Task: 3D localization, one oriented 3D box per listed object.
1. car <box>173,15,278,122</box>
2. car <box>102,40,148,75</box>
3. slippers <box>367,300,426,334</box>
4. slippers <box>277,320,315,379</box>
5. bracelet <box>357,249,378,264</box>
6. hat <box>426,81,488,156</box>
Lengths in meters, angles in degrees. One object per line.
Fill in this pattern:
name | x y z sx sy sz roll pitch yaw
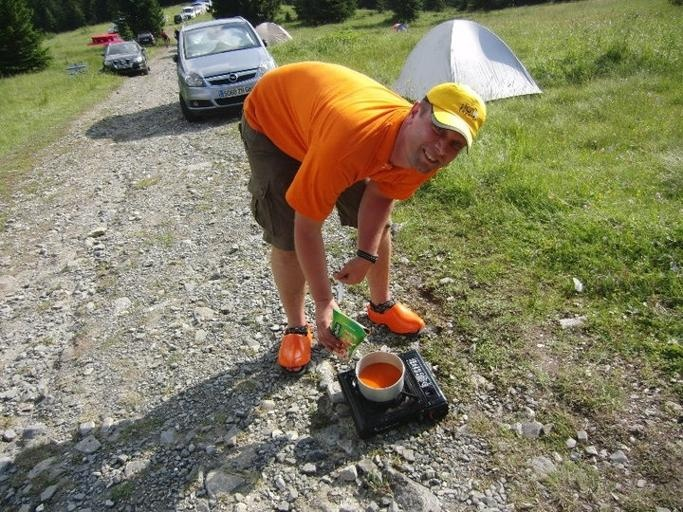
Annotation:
car | -2.306 -3.544 9.963 1.395 1.369 2.753 -14 34 -12
car | -6.926 -6.366 16.573 0.973 0.893 1.923 -4 20 -15
slippers | 0.479 0.476 4.519 0.460 0.219 0.258 17 49 17
slippers | -0.386 0.784 4.259 0.184 0.187 0.438 0 22 -2
bracelet | 0.193 -0.017 3.831 0.109 0.049 0.098 27 15 15
hat | 0.732 -0.996 3.442 0.243 0.331 0.493 -41 36 24
